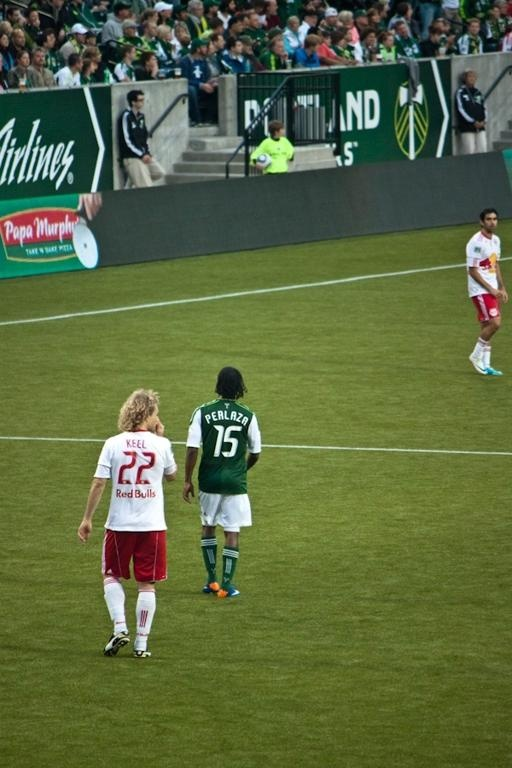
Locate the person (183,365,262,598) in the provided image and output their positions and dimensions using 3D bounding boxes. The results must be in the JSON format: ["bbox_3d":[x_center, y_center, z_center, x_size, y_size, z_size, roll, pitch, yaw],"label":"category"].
[{"bbox_3d":[-0.203,0.605,10.768,0.444,1.342,0.340,-1,9,-3],"label":"person"}]

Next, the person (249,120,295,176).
[{"bbox_3d":[0.197,-3.384,26.284,0.518,0.752,0.967,2,11,11],"label":"person"}]

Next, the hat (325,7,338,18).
[{"bbox_3d":[1.370,-6.724,33.172,0.182,0.178,0.287,-4,5,-12],"label":"hat"}]

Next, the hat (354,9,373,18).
[{"bbox_3d":[2.028,-7.018,34.588,0.185,0.114,0.286,-6,5,-28],"label":"hat"}]

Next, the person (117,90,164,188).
[{"bbox_3d":[-1.799,-3.720,27.796,0.642,1.541,1.729,0,11,1],"label":"person"}]

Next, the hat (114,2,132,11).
[{"bbox_3d":[-2.163,-5.987,29.111,0.231,0.179,0.418,-1,12,-5],"label":"hat"}]

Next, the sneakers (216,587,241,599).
[{"bbox_3d":[-0.163,1.248,10.806,0.105,0.058,0.060,-14,23,-27],"label":"sneakers"}]

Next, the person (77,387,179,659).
[{"bbox_3d":[-0.644,0.774,9.822,0.425,1.403,0.583,7,12,36],"label":"person"}]

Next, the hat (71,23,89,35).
[{"bbox_3d":[-2.761,-5.375,27.897,0.225,0.159,0.189,10,33,27],"label":"hat"}]

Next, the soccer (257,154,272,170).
[{"bbox_3d":[0.114,-3.180,26.151,0.152,0.230,0.194,3,-5,13],"label":"soccer"}]
